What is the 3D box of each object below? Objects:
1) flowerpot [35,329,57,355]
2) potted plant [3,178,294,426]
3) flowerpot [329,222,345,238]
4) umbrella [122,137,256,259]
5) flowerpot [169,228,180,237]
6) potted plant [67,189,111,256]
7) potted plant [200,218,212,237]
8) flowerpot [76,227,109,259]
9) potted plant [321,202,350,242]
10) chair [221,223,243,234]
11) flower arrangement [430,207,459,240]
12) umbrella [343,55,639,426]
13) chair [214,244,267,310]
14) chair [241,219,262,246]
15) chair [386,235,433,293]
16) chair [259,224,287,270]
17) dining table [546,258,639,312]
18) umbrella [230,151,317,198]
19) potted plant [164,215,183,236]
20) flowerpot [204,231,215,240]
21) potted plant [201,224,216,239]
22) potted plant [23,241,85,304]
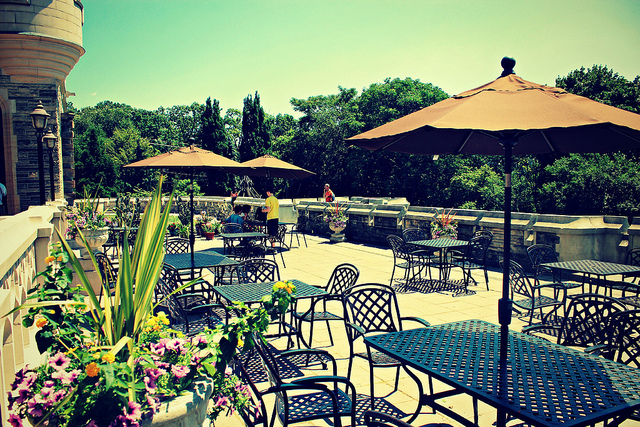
[{"bbox_3d":[-2.819,1.297,5.563,0.212,0.253,0.120,0,3,19],"label":"flowerpot"},{"bbox_3d":[-2.108,1.288,6.511,2.697,3.173,2.982,-4,7,-32],"label":"potted plant"},{"bbox_3d":[0.555,0.561,18.397,0.474,0.425,0.482,0,1,-3],"label":"flowerpot"},{"bbox_3d":[-2.590,-0.178,10.885,2.579,2.472,2.601,-1,4,-16],"label":"umbrella"},{"bbox_3d":[-5.072,0.664,18.983,0.269,0.191,0.274,-1,-2,-2],"label":"flowerpot"},{"bbox_3d":[-4.988,0.228,11.708,0.852,1.352,0.908,1,3,10],"label":"potted plant"},{"bbox_3d":[-4.104,0.500,19.450,0.545,0.605,0.576,0,-1,-8],"label":"potted plant"},{"bbox_3d":[-4.298,0.530,10.287,0.746,0.692,0.754,0,-3,-13],"label":"flowerpot"},{"bbox_3d":[0.630,0.254,18.869,1.138,1.405,1.154,0,-1,-7],"label":"potted plant"},{"bbox_3d":[-2.592,0.436,15.993,0.440,0.532,0.463,1,-7,-24],"label":"chair"},{"bbox_3d":[3.135,0.232,13.711,0.684,0.827,0.704,-4,6,-38],"label":"flower arrangement"},{"bbox_3d":[2.222,-0.023,7.858,4.066,4.609,4.187,3,3,32],"label":"umbrella"},{"bbox_3d":[-1.308,1.078,10.221,1.071,1.592,0.947,3,-4,-22],"label":"chair"},{"bbox_3d":[-2.140,0.594,16.943,0.692,0.794,0.704,0,1,-6],"label":"chair"},{"bbox_3d":[1.928,0.913,11.815,0.778,1.162,0.906,5,26,27],"label":"chair"},{"bbox_3d":[-1.342,0.879,14.342,0.833,1.165,0.868,4,8,28],"label":"chair"},{"bbox_3d":[4.627,1.210,9.192,0.908,0.576,0.906,-6,9,-28],"label":"dining table"},{"bbox_3d":[-1.515,-1.318,16.246,1.593,0.783,1.664,5,2,44],"label":"umbrella"},{"bbox_3d":[-4.267,0.380,15.919,0.593,0.617,0.567,-4,11,-18],"label":"potted plant"},{"bbox_3d":[-3.811,0.765,18.744,0.239,0.174,0.244,0,1,10],"label":"flowerpot"},{"bbox_3d":[-3.875,0.636,18.890,0.375,0.429,0.391,-1,-3,0],"label":"potted plant"},{"bbox_3d":[-2.861,0.561,6.112,0.661,0.535,0.505,6,-7,-18],"label":"potted plant"}]
